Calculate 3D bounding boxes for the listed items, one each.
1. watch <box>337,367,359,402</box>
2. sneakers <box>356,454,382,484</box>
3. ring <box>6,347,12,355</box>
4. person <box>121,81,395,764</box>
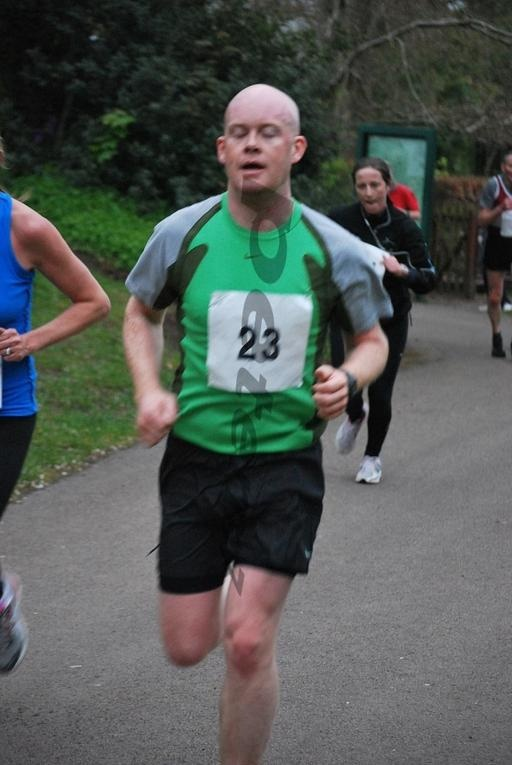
[{"bbox_3d":[0.185,0.005,1.465,0.046,0.057,0.054,-2,29,7],"label":"watch"},{"bbox_3d":[0.714,0.552,4.713,0.146,0.164,0.426,2,-5,8],"label":"sneakers"},{"bbox_3d":[-0.620,-0.077,1.869,0.014,0.025,0.019,1,1,3],"label":"ring"},{"bbox_3d":[-0.042,0.075,1.502,0.589,1.305,0.441,3,7,9],"label":"person"}]
